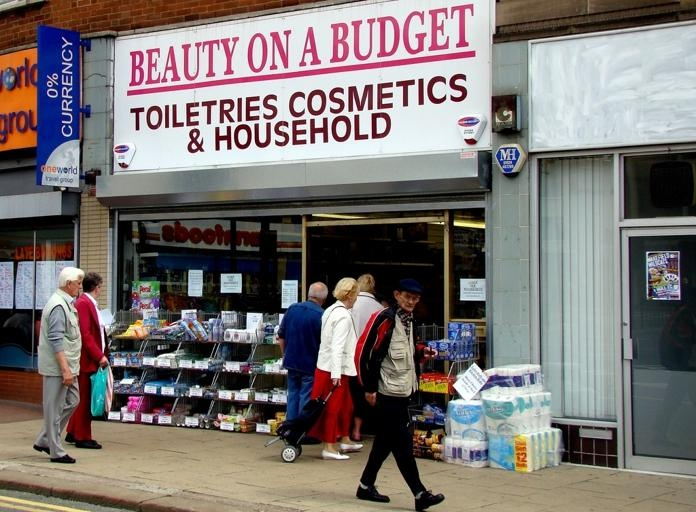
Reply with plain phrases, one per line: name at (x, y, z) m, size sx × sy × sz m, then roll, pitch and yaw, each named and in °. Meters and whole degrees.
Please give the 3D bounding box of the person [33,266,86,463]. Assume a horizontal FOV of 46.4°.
person at (-3.793, 1.432, 10.663) m, size 0.569 × 2.553 × 0.778 m, roll 2°, pitch 2°, yaw -19°

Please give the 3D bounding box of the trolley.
trolley at (-0.623, 2.295, 11.069) m, size 0.580 × 1.140 × 0.464 m, roll 21°, pitch 15°, yaw -34°

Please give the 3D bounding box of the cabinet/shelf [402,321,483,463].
cabinet/shelf at (1.362, 1.937, 11.419) m, size 0.564 × 1.764 × 0.832 m, roll 3°, pitch -6°, yaw -44°

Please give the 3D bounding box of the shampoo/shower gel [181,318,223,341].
shampoo/shower gel at (-2.300, 1.164, 12.898) m, size 0.441 × 0.397 × 0.196 m, roll -1°, pitch -40°, yaw 1°

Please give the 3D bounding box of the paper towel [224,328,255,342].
paper towel at (-1.702, 1.245, 12.721) m, size 0.539 × 0.206 × 0.165 m, roll -1°, pitch -4°, yaw 28°

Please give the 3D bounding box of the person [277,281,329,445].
person at (-0.594, 1.434, 11.343) m, size 0.583 × 1.939 × 0.608 m, roll -1°, pitch -2°, yaw 32°

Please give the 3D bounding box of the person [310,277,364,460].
person at (-0.178, 1.528, 10.736) m, size 0.666 × 2.260 × 0.845 m, roll 4°, pitch 5°, yaw -13°

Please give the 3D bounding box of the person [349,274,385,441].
person at (0.207, 1.476, 11.621) m, size 0.567 × 2.249 × 0.513 m, roll 5°, pitch 6°, yaw 36°
